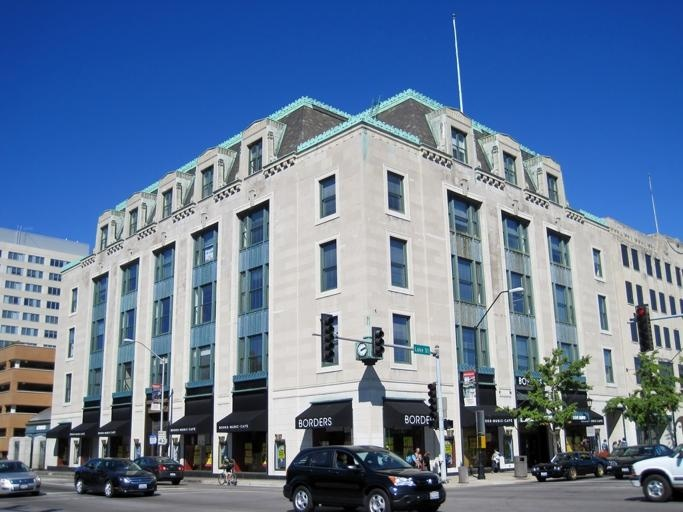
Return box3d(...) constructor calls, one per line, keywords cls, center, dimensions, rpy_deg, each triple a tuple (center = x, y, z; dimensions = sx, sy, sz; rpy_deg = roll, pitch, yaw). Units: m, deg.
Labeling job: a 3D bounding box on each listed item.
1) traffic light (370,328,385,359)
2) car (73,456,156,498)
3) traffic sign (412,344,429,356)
box3d(cls="traffic light", center=(1.974, 4.644, 36.832), dimensions=(0.581, 1.661, 0.653), rpy_deg=(0, -21, -1))
box3d(cls="car", center=(-12.226, 12.017, 36.937), dimensions=(5.211, 2.151, 1.802), rpy_deg=(-19, -28, 38))
box3d(cls="traffic sign", center=(4.795, 5.545, 40.247), dimensions=(0.937, 0.432, 0.979), rpy_deg=(9, -15, -21))
